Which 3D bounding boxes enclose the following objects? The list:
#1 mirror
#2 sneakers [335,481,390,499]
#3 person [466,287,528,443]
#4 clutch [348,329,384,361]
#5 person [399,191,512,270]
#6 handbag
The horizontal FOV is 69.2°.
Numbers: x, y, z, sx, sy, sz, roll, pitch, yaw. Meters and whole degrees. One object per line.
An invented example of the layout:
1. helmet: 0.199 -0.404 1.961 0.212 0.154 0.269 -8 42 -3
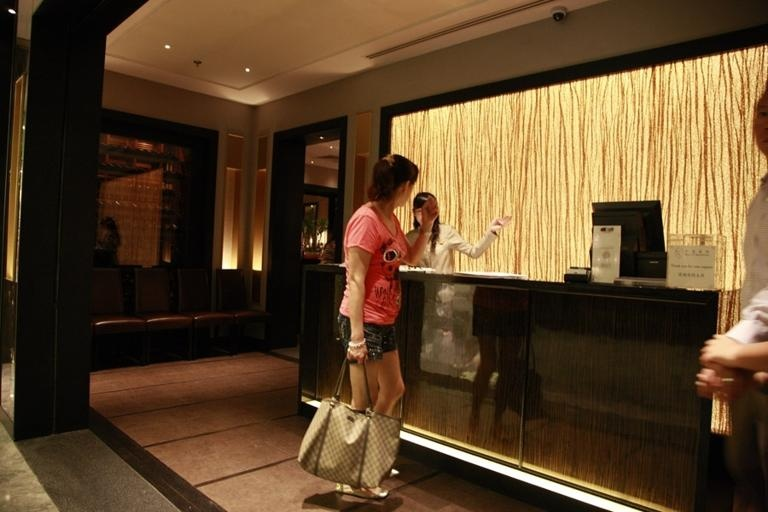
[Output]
1. mirror: -3.172 -0.914 7.518 2.065 2.403 0.184 2 -2 -40
2. sneakers: -0.168 1.661 3.926 0.361 0.090 0.216 -1 -10 14
3. person: 0.852 0.724 4.146 0.358 1.032 0.219 0 23 5
4. clutch: -0.122 0.596 3.702 0.164 0.159 0.224 2 -7 4
5. person: 0.757 -0.240 5.472 0.814 0.882 0.263 -3 -14 1
6. handbag: -0.209 1.037 3.643 0.658 0.830 0.247 9 3 18
